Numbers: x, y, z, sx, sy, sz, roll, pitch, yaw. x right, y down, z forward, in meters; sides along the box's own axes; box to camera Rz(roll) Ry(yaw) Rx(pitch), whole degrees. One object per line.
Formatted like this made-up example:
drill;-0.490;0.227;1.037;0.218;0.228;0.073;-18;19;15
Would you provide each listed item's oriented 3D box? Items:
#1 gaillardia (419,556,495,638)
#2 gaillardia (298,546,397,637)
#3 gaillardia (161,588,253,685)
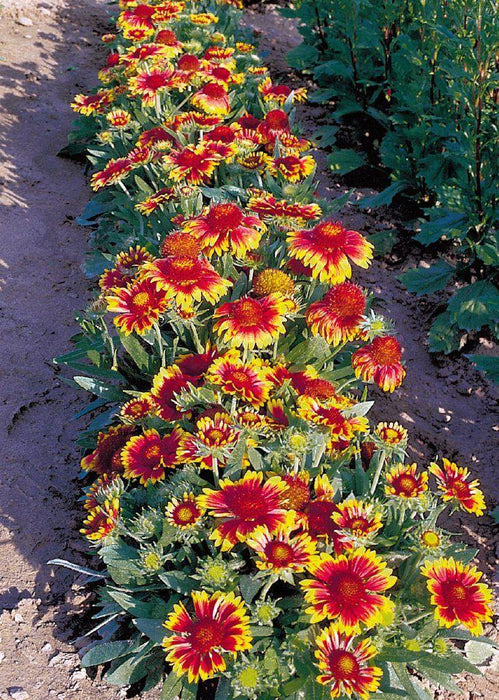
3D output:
gaillardia;0.552;0.678;1.969;0.221;0.079;0.221;33;48;9
gaillardia;0.262;0.626;1.832;0.261;0.051;0.218;-19;56;-23
gaillardia;-0.117;0.750;1.840;0.101;0.270;0.217;-9;63;39
